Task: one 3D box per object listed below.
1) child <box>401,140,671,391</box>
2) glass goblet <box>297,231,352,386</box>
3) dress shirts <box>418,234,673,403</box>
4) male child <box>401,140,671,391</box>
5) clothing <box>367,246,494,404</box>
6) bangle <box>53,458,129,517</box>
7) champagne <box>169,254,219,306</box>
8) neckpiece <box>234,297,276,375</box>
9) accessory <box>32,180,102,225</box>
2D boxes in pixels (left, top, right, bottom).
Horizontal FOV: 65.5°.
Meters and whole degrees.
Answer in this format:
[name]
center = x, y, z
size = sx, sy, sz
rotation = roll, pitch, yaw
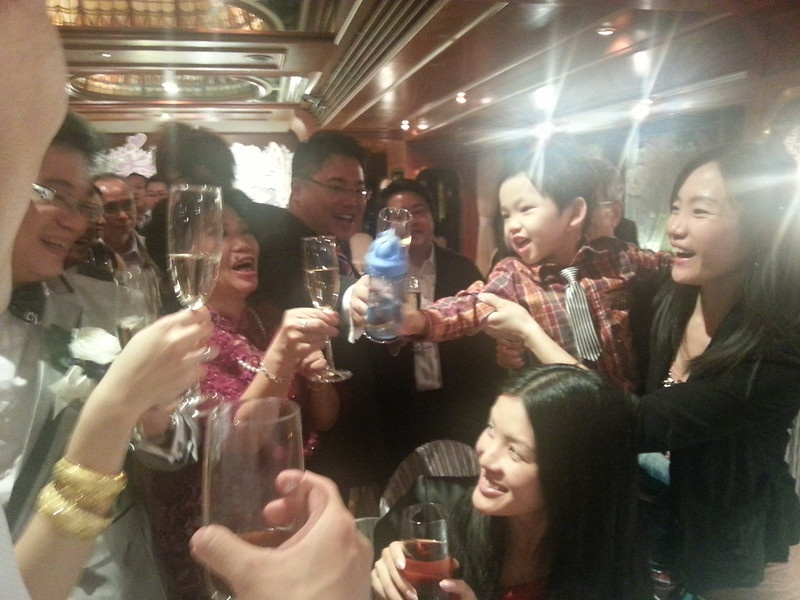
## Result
[child]
center = 0.308, -0.079, 1.334
size = 0.531, 0.585, 0.287
rotation = -12, 21, 34
[glass goblet]
center = -0.173, 0.035, 1.492
size = 0.100, 0.357, 0.272
rotation = -1, -1, -2
[dress shirts]
center = 0.330, 0.040, 1.334
size = 0.435, 0.198, 0.101
rotation = -14, -1, 5
[male child]
center = 0.308, -0.079, 1.334
size = 0.531, 0.585, 0.287
rotation = -12, 21, 34
[clothing]
center = 0.087, 0.043, 1.636
size = 0.272, 0.331, 0.129
rotation = 1, -8, 21
[bangle]
center = -0.476, 0.278, 0.969
size = 0.091, 0.061, 0.091
rotation = 13, 8, 24
[champagne]
center = -0.369, -0.031, 1.108
size = 0.085, 0.096, 0.063
rotation = -1, -1, -7
[neckpiece]
center = -0.369, 0.063, 1.530
size = 0.127, 0.230, 0.012
rotation = 15, -39, -36
[accessory]
center = -0.625, -0.182, 1.172
size = 0.074, 0.021, 0.072
rotation = 12, -10, 32
